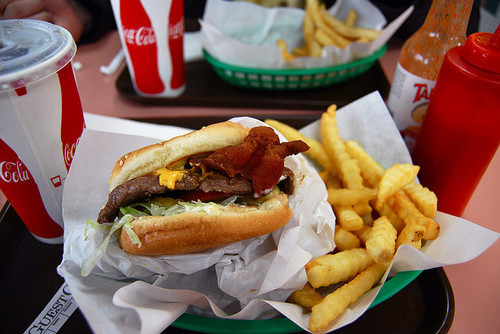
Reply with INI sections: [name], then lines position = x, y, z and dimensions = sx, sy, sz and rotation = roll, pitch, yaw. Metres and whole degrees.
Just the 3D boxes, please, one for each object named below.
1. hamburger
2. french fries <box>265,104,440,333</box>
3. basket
[hamburger]
position = -0.214, 0.079, 1.534
dimensions = 0.959, 0.324, 0.463
rotation = -10, 53, -10
[french fries]
position = 0.393, 0.213, 1.730
dimensions = 0.607, 0.546, 0.878
rotation = -2, 84, -24
[basket]
position = 0.237, -0.523, 1.997
dimensions = 0.951, 0.281, 0.357
rotation = -5, 16, -4
